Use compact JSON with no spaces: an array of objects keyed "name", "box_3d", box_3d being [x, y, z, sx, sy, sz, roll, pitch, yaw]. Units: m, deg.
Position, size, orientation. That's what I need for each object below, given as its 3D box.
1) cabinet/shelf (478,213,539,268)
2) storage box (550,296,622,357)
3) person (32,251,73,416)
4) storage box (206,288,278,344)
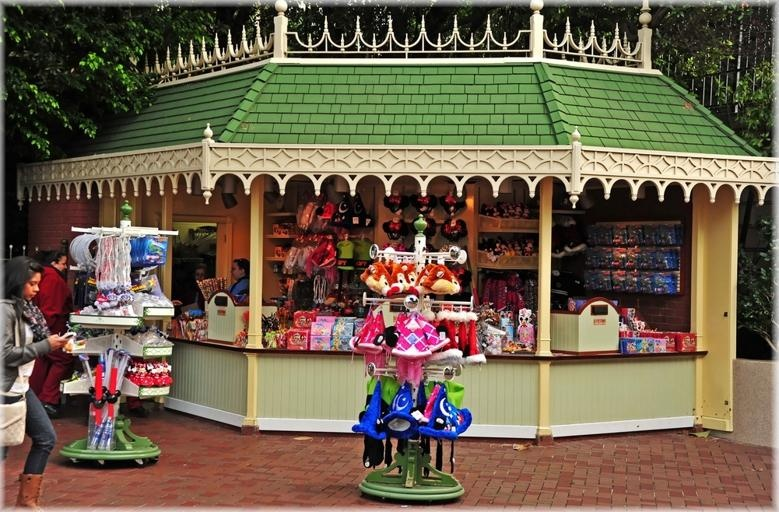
[{"name":"cabinet/shelf","box_3d":[2.282,-0.302,15.729,1.043,1.054,0.691,-2,6,7]},{"name":"storage box","box_3d":[3.201,1.135,13.545,0.901,0.775,0.936,0,-2,-23]},{"name":"person","box_3d":[-5.926,1.289,14.590,0.784,2.751,0.891,5,8,21]},{"name":"storage box","box_3d":[-2.638,1.068,14.384,0.894,0.944,1.166,1,-1,-30]}]
